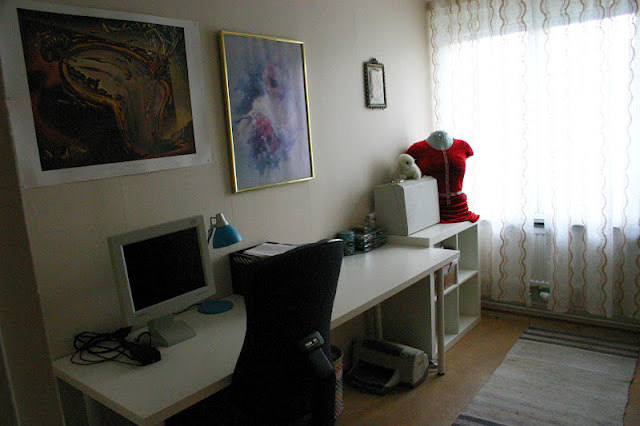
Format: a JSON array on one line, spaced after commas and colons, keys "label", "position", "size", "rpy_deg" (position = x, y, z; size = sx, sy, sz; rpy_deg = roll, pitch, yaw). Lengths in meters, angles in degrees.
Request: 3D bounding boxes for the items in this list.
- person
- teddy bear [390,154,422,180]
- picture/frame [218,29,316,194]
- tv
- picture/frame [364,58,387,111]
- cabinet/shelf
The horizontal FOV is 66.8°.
[{"label": "person", "position": [1.029, -0.301, 4.095], "size": [0.698, 0.906, 0.365], "rpy_deg": [-4, 6, -11]}, {"label": "teddy bear", "position": [0.726, -0.379, 4.019], "size": [0.239, 0.230, 0.157], "rpy_deg": [-4, 23, 14]}, {"label": "picture/frame", "position": [-0.372, -0.668, 3.178], "size": [0.082, 1.277, 0.905], "rpy_deg": [2, 12, 44]}, {"label": "tv", "position": [-0.812, 0.354, 2.557], "size": [0.480, 0.610, 0.196], "rpy_deg": [-14, 17, -30]}, {"label": "picture/frame", "position": [0.440, -1.034, 3.904], "size": [0.046, 0.501, 0.354], "rpy_deg": [-1, 11, 31]}, {"label": "cabinet/shelf", "position": [0.835, 0.596, 3.713], "size": [0.305, 0.763, 0.890], "rpy_deg": [5, 15, 32]}]
